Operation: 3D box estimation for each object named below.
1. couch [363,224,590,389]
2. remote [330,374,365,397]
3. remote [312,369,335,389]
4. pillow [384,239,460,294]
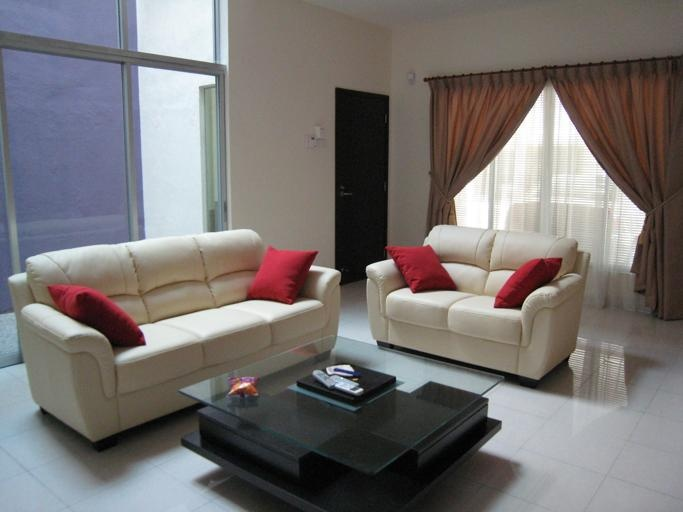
[{"bbox_3d":[1.247,0.371,4.592,1.066,1.139,1.785,-11,13,-43],"label":"couch"},{"bbox_3d":[0.030,0.755,2.890,0.085,0.039,0.157,-11,19,-39],"label":"remote"},{"bbox_3d":[-0.103,0.728,2.951,0.064,0.034,0.121,-13,23,-29],"label":"remote"},{"bbox_3d":[0.795,0.117,4.777,0.684,0.175,0.707,-9,42,-45],"label":"pillow"}]
